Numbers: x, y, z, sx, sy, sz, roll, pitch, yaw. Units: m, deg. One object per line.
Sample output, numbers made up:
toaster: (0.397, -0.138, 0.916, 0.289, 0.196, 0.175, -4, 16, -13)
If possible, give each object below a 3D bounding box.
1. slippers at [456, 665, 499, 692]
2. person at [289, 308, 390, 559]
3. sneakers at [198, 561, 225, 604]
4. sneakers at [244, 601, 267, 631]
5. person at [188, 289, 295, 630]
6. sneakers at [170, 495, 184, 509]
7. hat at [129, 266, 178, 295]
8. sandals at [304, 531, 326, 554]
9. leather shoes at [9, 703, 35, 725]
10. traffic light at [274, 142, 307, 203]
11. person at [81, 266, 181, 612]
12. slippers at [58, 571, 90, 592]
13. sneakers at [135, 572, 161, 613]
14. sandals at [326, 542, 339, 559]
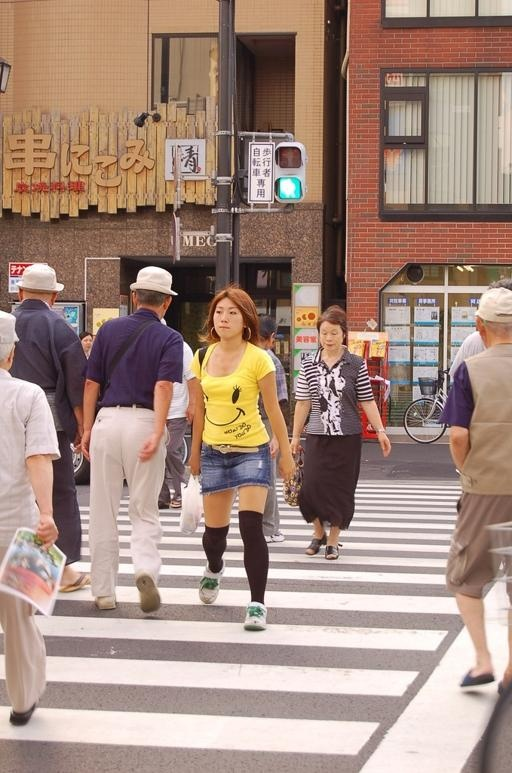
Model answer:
slippers: (0.847, 1.131, 4.095, 0.138, 0.073, 0.075, -2, -4, 35)
person: (0.550, 0.332, 7.286, 0.614, 1.763, 0.444, 2, 7, 2)
sneakers: (-0.255, 1.075, 5.698, 0.087, 0.294, 0.105, 3, -2, 2)
sneakers: (-0.005, 1.114, 5.136, 0.104, 0.146, 0.131, 2, 8, 0)
person: (-0.089, 0.376, 5.343, 0.421, 1.723, 0.676, -3, 9, -39)
sneakers: (-0.744, 1.057, 9.725, 0.128, 0.065, 0.186, -1, 12, 1)
hat: (-0.535, -0.546, 5.584, 0.173, 0.135, 0.225, 7, -11, -1)
sandals: (0.415, 1.108, 7.495, 0.068, 0.103, 0.227, 0, 6, 18)
leather shoes: (-0.818, 1.147, 3.693, 0.045, 0.058, 0.128, 4, 11, 4)
traffic light: (0.367, -2.403, 11.833, 0.357, 0.676, 0.262, 2, 7, -1)
person: (-0.627, 0.302, 5.332, 0.485, 1.763, 0.612, 0, 7, -11)
slippers: (-1.033, 1.134, 6.052, 0.064, 0.053, 0.173, 21, 30, 34)
sneakers: (-0.520, 1.002, 5.082, 0.105, 0.211, 0.124, -1, 8, -23)
sandals: (0.516, 1.120, 7.242, 0.089, 0.083, 0.284, -1, 0, 1)
